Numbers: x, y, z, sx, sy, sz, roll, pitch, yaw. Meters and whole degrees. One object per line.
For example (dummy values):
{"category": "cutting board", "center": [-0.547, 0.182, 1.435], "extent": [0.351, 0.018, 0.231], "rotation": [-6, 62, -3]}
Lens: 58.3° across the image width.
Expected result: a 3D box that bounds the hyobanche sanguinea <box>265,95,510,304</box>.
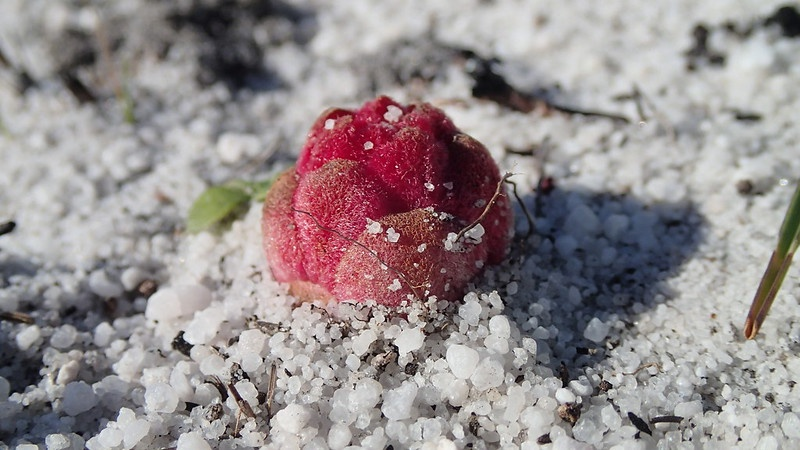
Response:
{"category": "hyobanche sanguinea", "center": [-0.041, -0.058, 1.778], "extent": [0.572, 0.177, 0.501], "rotation": [1, 76, 2]}
